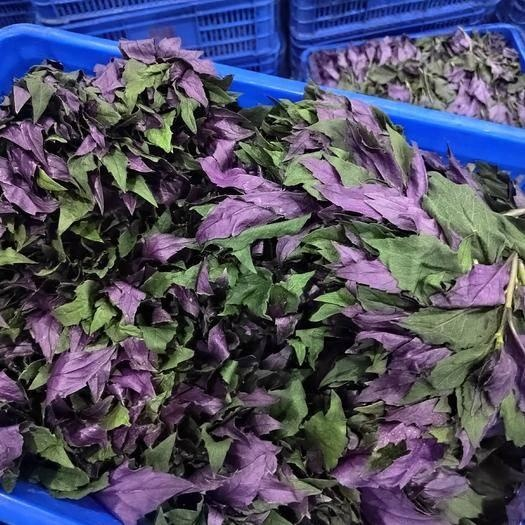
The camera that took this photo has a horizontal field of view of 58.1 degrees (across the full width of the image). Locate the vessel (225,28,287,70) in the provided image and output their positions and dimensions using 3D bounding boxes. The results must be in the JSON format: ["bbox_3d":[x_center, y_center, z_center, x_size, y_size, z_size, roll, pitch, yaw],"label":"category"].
[{"bbox_3d":[-0.017,-0.480,1.113,0.157,0.079,0.126,2,51,8],"label":"vessel"}]
